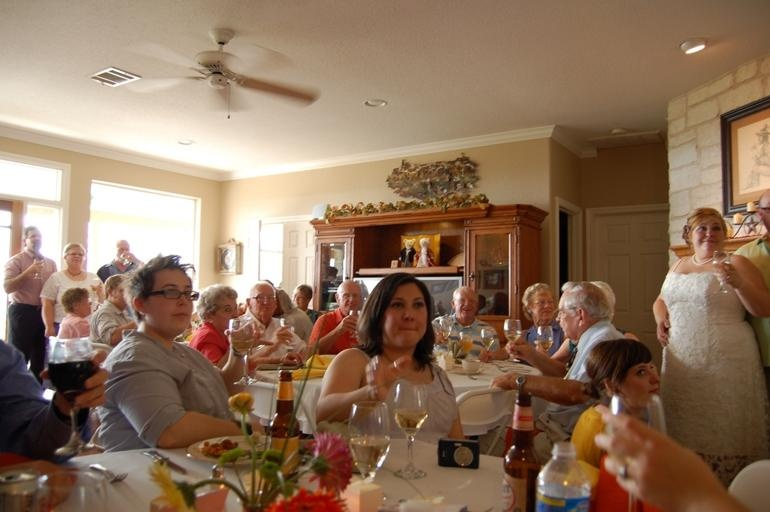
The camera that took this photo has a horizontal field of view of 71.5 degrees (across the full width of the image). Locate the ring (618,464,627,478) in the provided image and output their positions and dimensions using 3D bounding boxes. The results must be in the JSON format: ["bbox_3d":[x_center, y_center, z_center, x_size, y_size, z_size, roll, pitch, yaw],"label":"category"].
[{"bbox_3d":[0.584,0.527,1.307,0.022,0.021,0.027,7,-15,4],"label":"ring"}]

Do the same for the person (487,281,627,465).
[{"bbox_3d":[1.013,0.751,3.110,0.733,1.175,0.522,0,14,20],"label":"person"}]

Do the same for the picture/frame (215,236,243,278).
[{"bbox_3d":[-2.589,0.033,8.932,0.681,0.743,0.110,-5,-8,31],"label":"picture/frame"}]

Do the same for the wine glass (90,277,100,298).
[{"bbox_3d":[-3.133,0.342,5.759,0.072,0.184,0.136,-6,-18,-35],"label":"wine glass"}]

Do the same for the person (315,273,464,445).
[{"bbox_3d":[0.029,0.503,2.645,0.699,0.907,0.530,3,-33,-1],"label":"person"}]

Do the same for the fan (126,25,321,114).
[{"bbox_3d":[-1.445,-1.705,4.724,1.539,0.450,1.519,3,-3,-2],"label":"fan"}]
